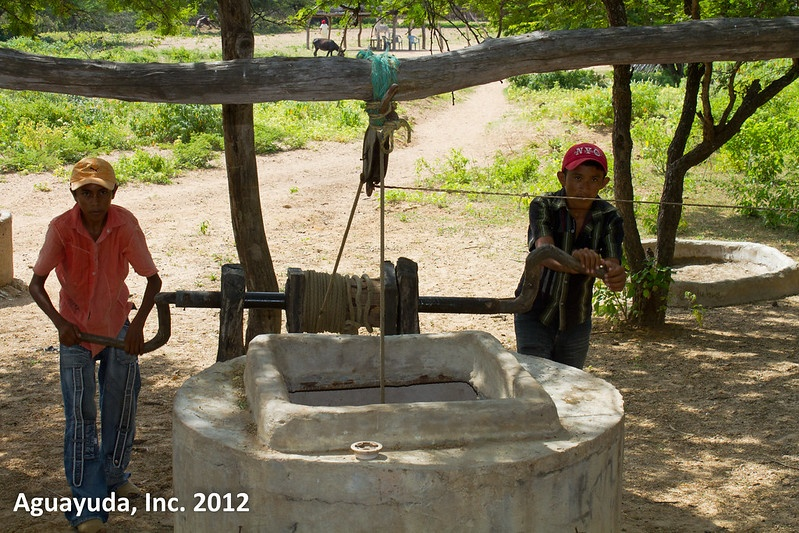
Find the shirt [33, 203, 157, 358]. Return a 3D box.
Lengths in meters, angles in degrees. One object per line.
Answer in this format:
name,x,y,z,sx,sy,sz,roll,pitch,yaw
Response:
shirt,-2.539,0.048,10.039,0.983,1.107,0.363,-4,16,-16

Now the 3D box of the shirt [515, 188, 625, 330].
shirt,1.447,-0.027,10.337,0.934,1.154,0.644,5,10,-20

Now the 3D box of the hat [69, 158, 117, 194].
hat,-2.559,-0.783,10.063,0.405,0.254,0.529,-1,7,-13

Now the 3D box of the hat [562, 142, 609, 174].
hat,1.573,-0.928,10.235,0.365,0.251,0.203,2,15,6
